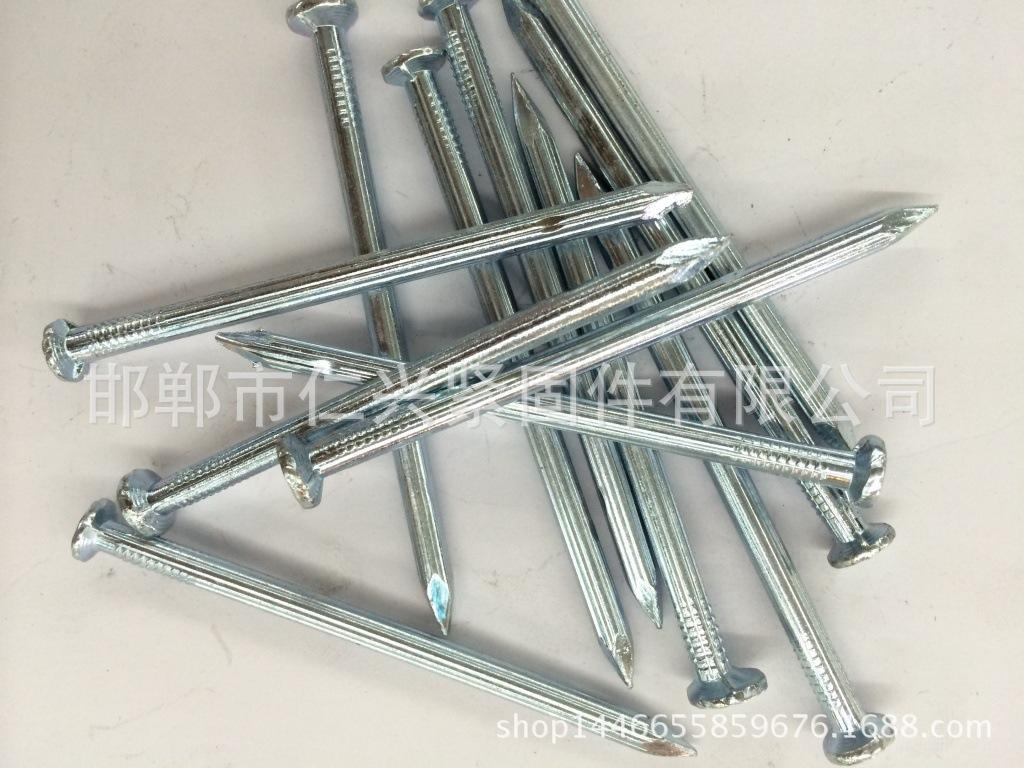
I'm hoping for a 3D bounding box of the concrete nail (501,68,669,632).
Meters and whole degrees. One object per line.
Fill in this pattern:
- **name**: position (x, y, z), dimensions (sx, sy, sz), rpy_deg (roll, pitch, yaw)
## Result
- **concrete nail**: position (0.233, -0.096, 3.980), dimensions (0.125, 0.137, 1.858), rpy_deg (-18, -85, 2)
